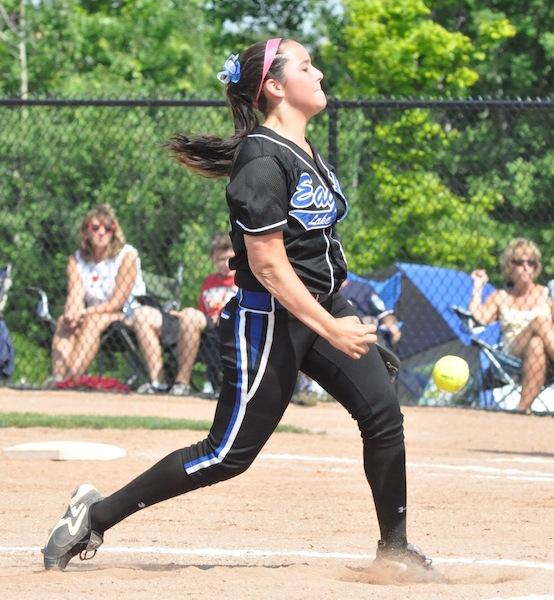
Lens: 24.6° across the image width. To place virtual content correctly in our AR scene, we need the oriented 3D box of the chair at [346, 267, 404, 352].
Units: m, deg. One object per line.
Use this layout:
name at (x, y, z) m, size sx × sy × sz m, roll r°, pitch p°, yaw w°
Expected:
chair at (0.710, 0.049, 9.450) m, size 0.175 × 0.363 × 0.622 m, roll 12°, pitch 35°, yaw -35°

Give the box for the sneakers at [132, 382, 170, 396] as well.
sneakers at (-0.911, 0.655, 9.278) m, size 0.244 × 0.089 × 0.077 m, roll -3°, pitch 2°, yaw -13°

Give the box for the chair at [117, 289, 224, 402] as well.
chair at (-0.596, 0.354, 9.273) m, size 0.796 × 0.943 × 0.374 m, roll -3°, pitch 32°, yaw 13°

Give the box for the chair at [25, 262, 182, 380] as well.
chair at (-1.193, 0.127, 9.355) m, size 0.814 × 1.006 × 0.797 m, roll 3°, pitch -28°, yaw 18°

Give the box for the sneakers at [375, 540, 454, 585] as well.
sneakers at (0.625, 1.228, 5.841) m, size 0.437 × 0.178 × 0.149 m, roll 5°, pitch 2°, yaw 44°

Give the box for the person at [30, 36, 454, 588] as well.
person at (-0.059, 0.036, 5.795) m, size 1.591 × 2.417 × 0.512 m, roll 2°, pitch 10°, yaw 5°
